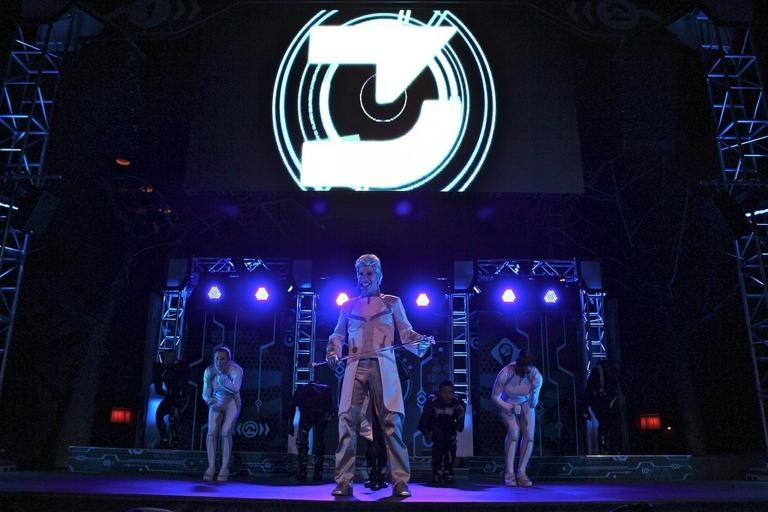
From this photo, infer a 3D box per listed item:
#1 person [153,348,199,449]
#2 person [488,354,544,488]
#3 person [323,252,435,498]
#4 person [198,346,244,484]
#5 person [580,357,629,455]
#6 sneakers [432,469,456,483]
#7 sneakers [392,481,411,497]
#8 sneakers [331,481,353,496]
[{"bbox_3d":[-4.364,2.911,12.766,0.792,1.868,0.729,-13,-26,35],"label":"person"},{"bbox_3d":[2.265,2.737,10.433,0.814,2.063,0.831,-11,-25,31],"label":"person"},{"bbox_3d":[-0.195,1.671,9.107,1.318,3.462,0.736,4,-21,-5],"label":"person"},{"bbox_3d":[-2.862,2.752,10.816,0.657,2.156,1.235,7,-22,-12],"label":"person"},{"bbox_3d":[4.342,3.014,12.476,0.721,1.715,0.927,-4,-22,17],"label":"person"},{"bbox_3d":[1.044,3.882,10.949,0.388,0.172,0.175,-18,-48,17],"label":"sneakers"},{"bbox_3d":[0.223,3.246,8.691,0.257,0.199,0.494,2,-20,-6],"label":"sneakers"},{"bbox_3d":[-0.580,3.240,8.675,0.301,0.189,0.211,5,-21,-7],"label":"sneakers"}]
